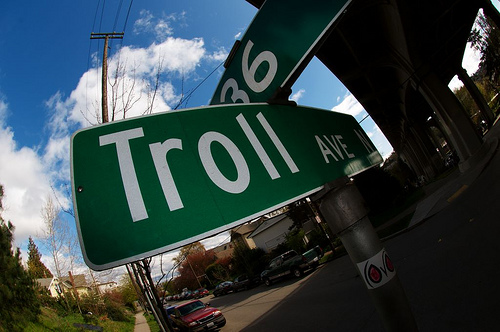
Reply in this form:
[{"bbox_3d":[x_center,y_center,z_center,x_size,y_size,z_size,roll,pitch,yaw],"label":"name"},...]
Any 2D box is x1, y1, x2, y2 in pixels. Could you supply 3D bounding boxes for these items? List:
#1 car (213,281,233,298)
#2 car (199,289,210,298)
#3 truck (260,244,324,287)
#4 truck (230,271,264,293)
[{"bbox_3d":[-2.348,10.505,27.592,0.929,0.803,2.272,6,-36,-34],"label":"car"},{"bbox_3d":[-4.408,12.060,30.449,1.016,0.926,1.876,-4,-20,-15],"label":"car"},{"bbox_3d":[2.527,6.404,21.080,2.133,1.659,4.568,-1,-37,-46],"label":"truck"},{"bbox_3d":[-0.167,8.946,25.343,1.409,1.212,3.217,7,-26,-39],"label":"truck"}]
